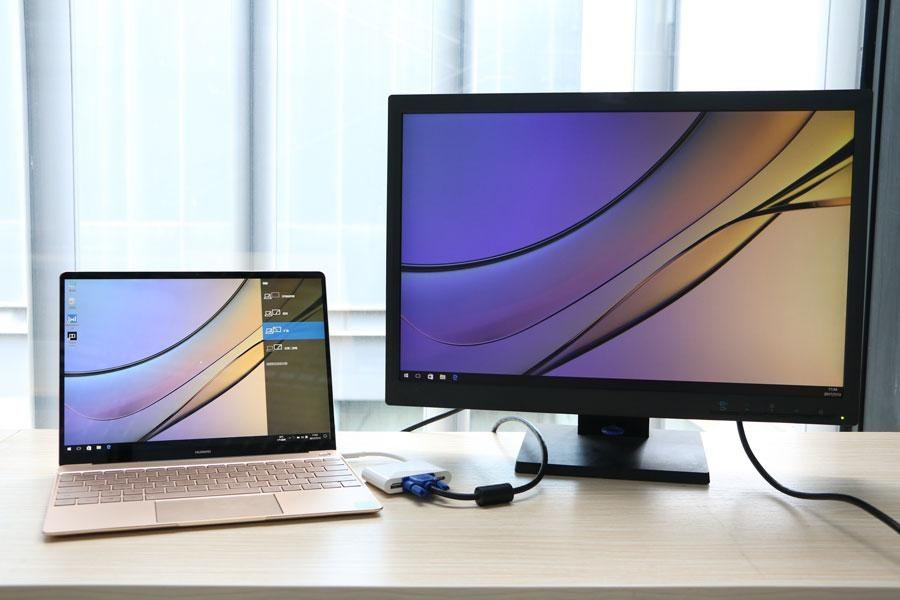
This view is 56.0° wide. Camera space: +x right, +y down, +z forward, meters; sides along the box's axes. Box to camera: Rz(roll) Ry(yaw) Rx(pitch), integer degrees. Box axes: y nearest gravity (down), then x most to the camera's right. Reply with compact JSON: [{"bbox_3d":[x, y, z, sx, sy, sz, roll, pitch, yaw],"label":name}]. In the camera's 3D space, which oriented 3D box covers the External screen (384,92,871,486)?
[{"bbox_3d":[0.334,-0.045,1.603,0.789,0.604,0.226,0,0,7],"label":"External screen"}]
